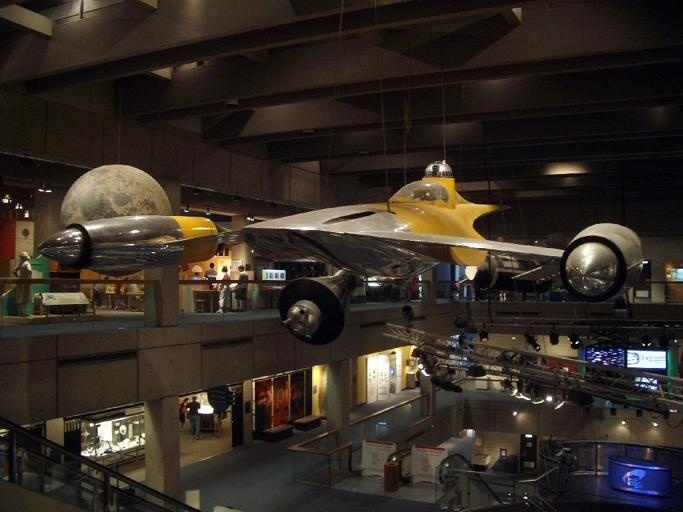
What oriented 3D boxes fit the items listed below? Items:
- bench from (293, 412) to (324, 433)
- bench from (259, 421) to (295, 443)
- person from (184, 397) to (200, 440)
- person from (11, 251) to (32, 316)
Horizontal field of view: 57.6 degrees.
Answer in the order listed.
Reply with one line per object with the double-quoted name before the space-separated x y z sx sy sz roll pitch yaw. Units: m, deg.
"bench" -1.179 5.860 21.878 0.635 0.338 1.100 3 -2 29
"bench" -2.095 5.798 20.448 0.679 0.358 1.155 3 -2 24
"person" -4.898 5.288 20.559 0.440 1.082 0.702 5 -2 -13
"person" -6.090 0.592 11.881 0.314 1.083 2.155 5 -2 -27
